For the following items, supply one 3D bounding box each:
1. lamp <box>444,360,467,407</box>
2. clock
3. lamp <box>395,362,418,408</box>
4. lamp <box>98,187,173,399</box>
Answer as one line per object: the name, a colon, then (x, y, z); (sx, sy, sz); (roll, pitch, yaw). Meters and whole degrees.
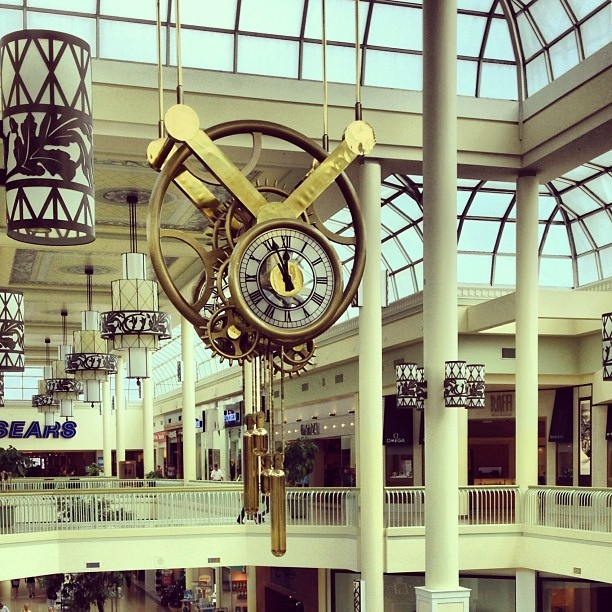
lamp: (2.377, 1.239, 17.325); (0.394, 0.735, 0.326); (1, -12, -10)
clock: (-0.212, -0.225, 9.697); (0.952, 1.002, 0.115); (-3, -4, -15)
lamp: (1.889, 1.431, 20.543); (0.383, 0.851, 0.968); (-2, -12, 5)
lamp: (-3.064, 0.139, 19.835); (1.098, 2.523, 0.874); (-5, -12, 17)
